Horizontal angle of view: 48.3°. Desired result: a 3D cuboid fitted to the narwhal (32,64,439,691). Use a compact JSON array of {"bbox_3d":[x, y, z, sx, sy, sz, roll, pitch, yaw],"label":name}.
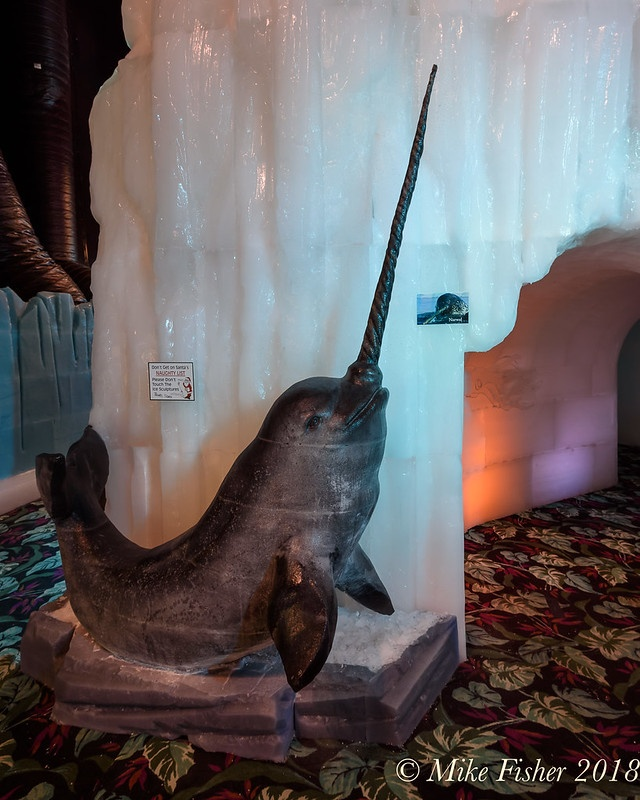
[{"bbox_3d":[-0.211,0.106,1.914,1.074,1.808,0.656,-3,0,12],"label":"narwhal"}]
